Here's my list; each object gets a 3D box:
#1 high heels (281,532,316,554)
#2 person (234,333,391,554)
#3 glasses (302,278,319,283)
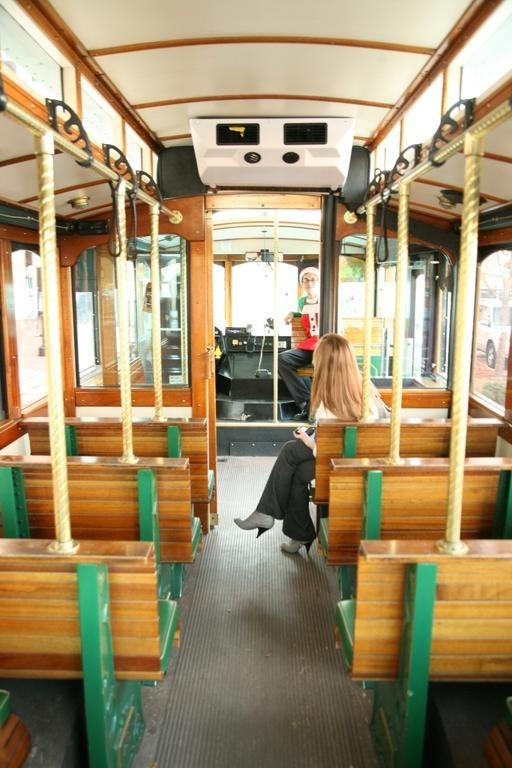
[{"bbox_3d":[0.315,1.138,3.837,0.261,0.218,0.109,4,9,4],"label":"high heels"},{"bbox_3d":[0.368,0.459,3.525,0.965,1.517,0.540,5,12,2],"label":"person"},{"bbox_3d":[0.657,-1.275,6.468,0.169,0.072,0.078,3,6,23],"label":"glasses"}]
